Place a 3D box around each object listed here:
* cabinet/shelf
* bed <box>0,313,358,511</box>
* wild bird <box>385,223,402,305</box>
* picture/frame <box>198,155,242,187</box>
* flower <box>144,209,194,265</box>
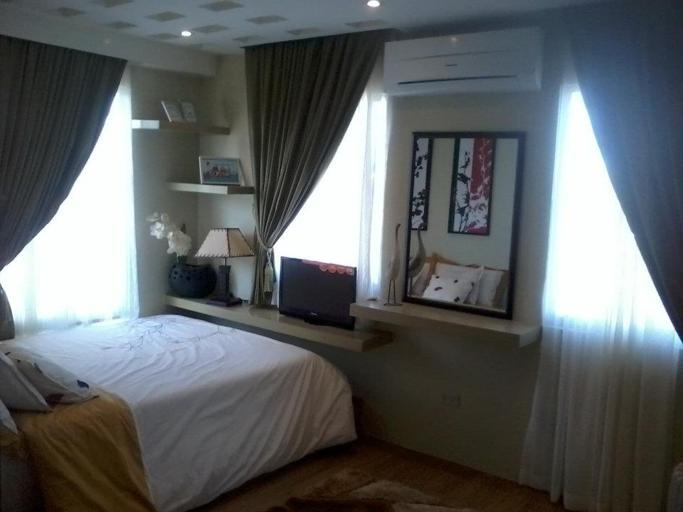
[{"bbox_3d":[-1.320,-0.886,4.682,1.049,0.611,0.568,0,12,-9],"label":"cabinet/shelf"},{"bbox_3d":[-0.747,0.938,3.513,1.375,0.418,1.394,9,4,44],"label":"bed"},{"bbox_3d":[0.392,0.068,3.922,0.105,0.595,0.275,3,11,5],"label":"wild bird"},{"bbox_3d":[-1.089,-0.767,4.744,0.304,0.228,0.034,-1,-8,-18],"label":"picture/frame"},{"bbox_3d":[-1.601,-0.167,4.837,0.346,0.467,0.267,-5,13,-32],"label":"flower"}]
